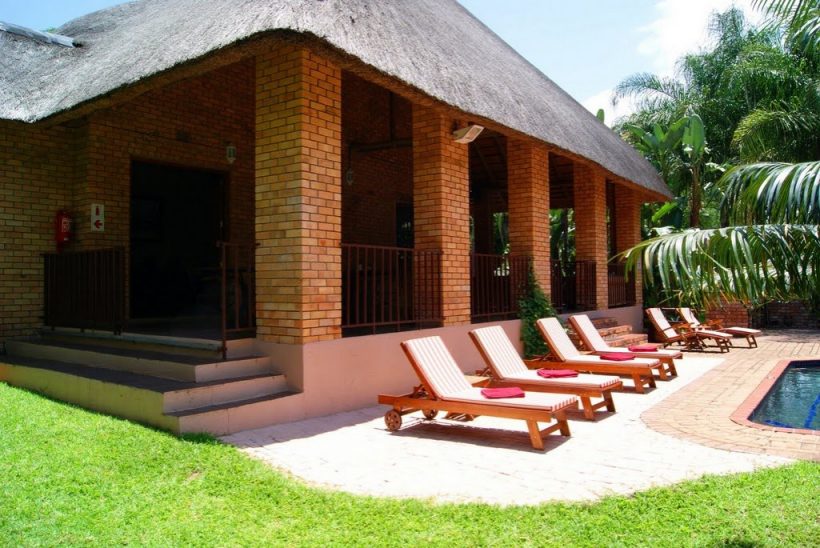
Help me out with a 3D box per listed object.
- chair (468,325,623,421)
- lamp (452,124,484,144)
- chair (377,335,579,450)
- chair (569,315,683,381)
[{"bbox_3d":[2.156,1.542,9.619,2.355,1.488,1.251,-2,-1,39],"label":"chair"},{"bbox_3d":[1.082,-2.689,11.134,0.343,0.315,0.572,-1,-4,-35],"label":"lamp"},{"bbox_3d":[0.985,1.506,8.615,2.528,1.407,1.416,-2,-1,32],"label":"chair"},{"bbox_3d":[3.532,1.433,11.077,2.119,1.168,1.333,-3,-1,41],"label":"chair"}]
